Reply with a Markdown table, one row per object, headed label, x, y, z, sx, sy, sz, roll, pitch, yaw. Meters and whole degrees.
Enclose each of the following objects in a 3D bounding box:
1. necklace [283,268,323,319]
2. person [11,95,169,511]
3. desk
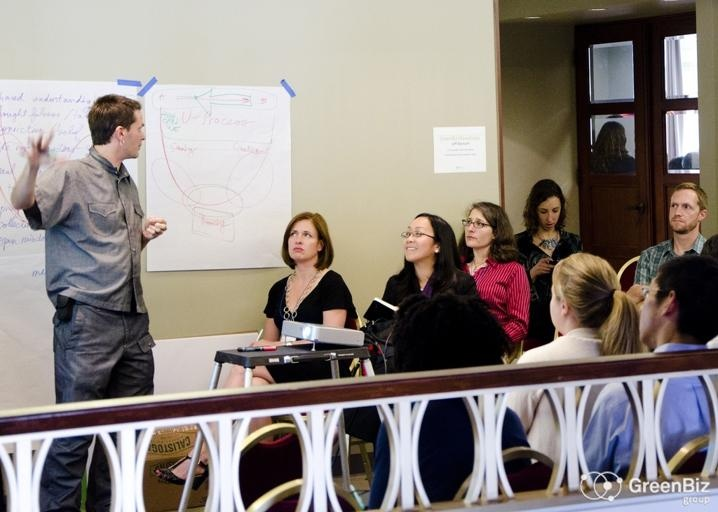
| label | x | y | z | sx | sy | sz | roll | pitch | yaw |
| --- | --- | --- | --- | --- | --- | --- | --- | --- | --- |
| necklace | -0.338 | 0.247 | 3.670 | 0.172 | 0.327 | 0.089 | 11 | -21 | 23 |
| person | -1.275 | 0.238 | 2.921 | 0.421 | 2.033 | 0.649 | 4 | 9 | 34 |
| desk | -0.333 | 0.829 | 2.846 | 0.759 | 0.885 | 0.943 | -4 | -5 | 32 |
